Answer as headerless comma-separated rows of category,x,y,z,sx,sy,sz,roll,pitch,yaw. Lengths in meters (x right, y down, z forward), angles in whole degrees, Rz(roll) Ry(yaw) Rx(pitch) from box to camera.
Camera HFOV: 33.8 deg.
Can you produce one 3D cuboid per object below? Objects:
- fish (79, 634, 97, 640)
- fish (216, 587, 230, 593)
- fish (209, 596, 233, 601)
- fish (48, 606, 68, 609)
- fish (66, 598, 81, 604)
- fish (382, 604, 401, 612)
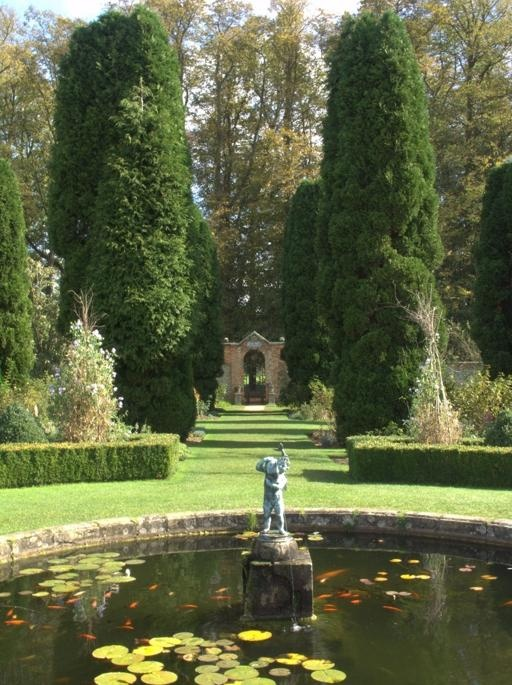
fish,-0.990,1.744,5.033,0.121,0.002,0.071,4,6,33
fish,-0.226,1.695,5.820,0.072,0.009,0.121,1,5,-2
fish,-0.224,1.702,5.645,0.133,0.005,0.115,0,5,-15
fish,-1.276,1.702,5.458,0.112,0.006,0.062,1,5,5
fish,-1.188,1.692,5.553,0.102,0.025,0.039,-2,-33,35
fish,0.865,1.691,5.398,0.081,0.032,0.190,-22,-9,-14
